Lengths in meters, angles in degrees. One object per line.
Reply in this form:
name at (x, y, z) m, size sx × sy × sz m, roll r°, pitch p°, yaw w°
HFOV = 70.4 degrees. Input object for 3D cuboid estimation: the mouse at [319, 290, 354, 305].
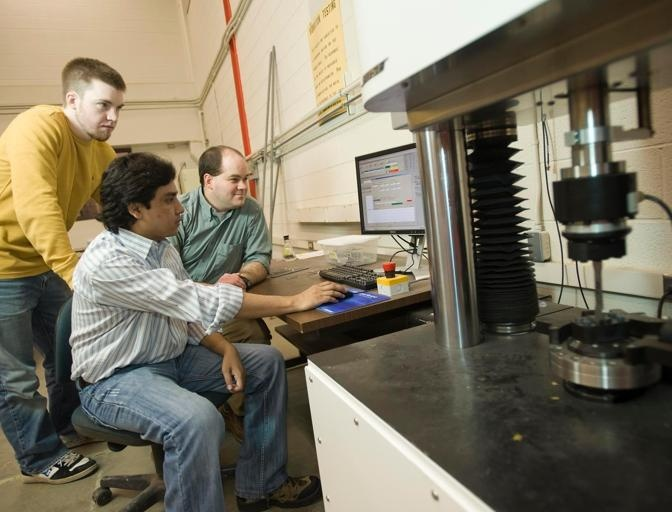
mouse at (0.018, 0.134, 1.640) m, size 0.052 × 0.020 × 0.081 m, roll 5°, pitch 15°, yaw 37°

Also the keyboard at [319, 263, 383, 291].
keyboard at (0.074, 0.078, 1.852) m, size 0.089 × 0.033 × 0.201 m, roll -22°, pitch 17°, yaw -23°

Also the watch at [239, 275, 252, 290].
watch at (-0.375, 0.111, 1.998) m, size 0.020 × 0.056 × 0.042 m, roll -19°, pitch 20°, yaw -26°
